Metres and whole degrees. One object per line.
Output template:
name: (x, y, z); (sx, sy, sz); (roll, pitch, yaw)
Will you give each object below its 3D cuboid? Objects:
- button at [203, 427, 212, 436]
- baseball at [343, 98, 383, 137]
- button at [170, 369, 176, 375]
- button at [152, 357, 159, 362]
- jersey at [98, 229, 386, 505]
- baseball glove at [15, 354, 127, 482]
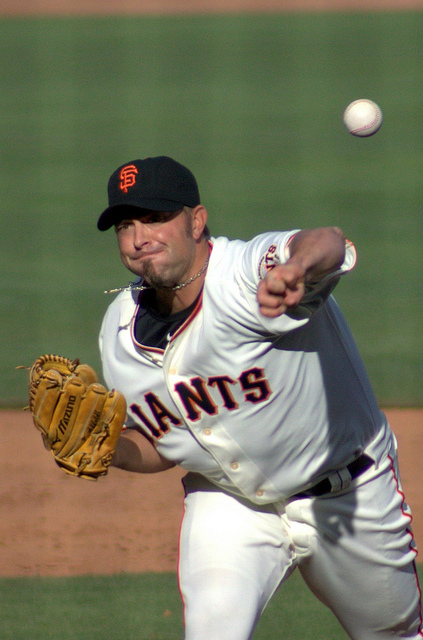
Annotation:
button: (-0.014, 0.428, 3.782); (0.032, 0.030, 0.004); (-3, 14, -3)
baseball: (0.802, -1.073, 5.274); (0.193, 0.193, 0.209); (-1, 13, 6)
button: (-0.143, 0.195, 3.757); (0.022, 0.020, 0.005); (-3, -13, 1)
button: (-0.215, 0.152, 3.850); (0.024, 0.020, 0.006); (7, 5, 13)
jersey: (0.094, 0.197, 3.825); (1.100, 1.144, 0.775); (0, 14, 9)
baseball glove: (-0.497, 0.377, 3.949); (0.450, 0.407, 0.761); (0, 7, 21)
